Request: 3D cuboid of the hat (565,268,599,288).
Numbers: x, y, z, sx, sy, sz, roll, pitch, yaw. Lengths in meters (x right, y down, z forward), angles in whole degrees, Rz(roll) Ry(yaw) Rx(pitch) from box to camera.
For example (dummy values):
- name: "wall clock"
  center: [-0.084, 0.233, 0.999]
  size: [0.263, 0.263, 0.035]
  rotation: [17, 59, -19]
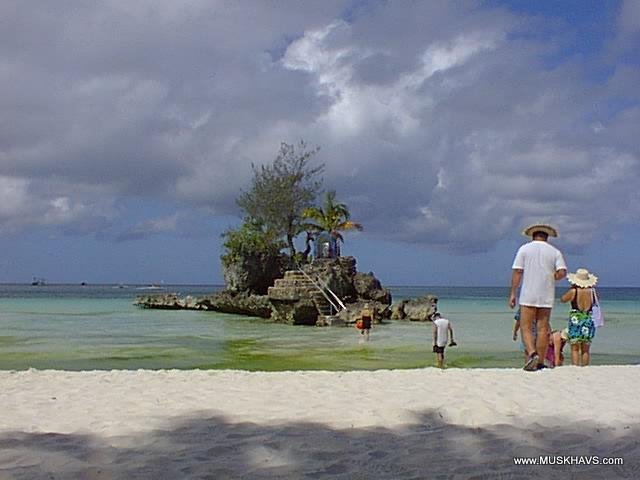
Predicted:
- name: "hat"
  center: [5.298, 0.794, 11.158]
  size: [0.479, 0.336, 0.346]
  rotation: [-2, -6, 22]

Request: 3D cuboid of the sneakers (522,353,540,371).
- name: "sneakers"
  center: [4.126, 2.390, 10.734]
  size: [0.162, 0.194, 0.495]
  rotation: [14, -40, 17]
